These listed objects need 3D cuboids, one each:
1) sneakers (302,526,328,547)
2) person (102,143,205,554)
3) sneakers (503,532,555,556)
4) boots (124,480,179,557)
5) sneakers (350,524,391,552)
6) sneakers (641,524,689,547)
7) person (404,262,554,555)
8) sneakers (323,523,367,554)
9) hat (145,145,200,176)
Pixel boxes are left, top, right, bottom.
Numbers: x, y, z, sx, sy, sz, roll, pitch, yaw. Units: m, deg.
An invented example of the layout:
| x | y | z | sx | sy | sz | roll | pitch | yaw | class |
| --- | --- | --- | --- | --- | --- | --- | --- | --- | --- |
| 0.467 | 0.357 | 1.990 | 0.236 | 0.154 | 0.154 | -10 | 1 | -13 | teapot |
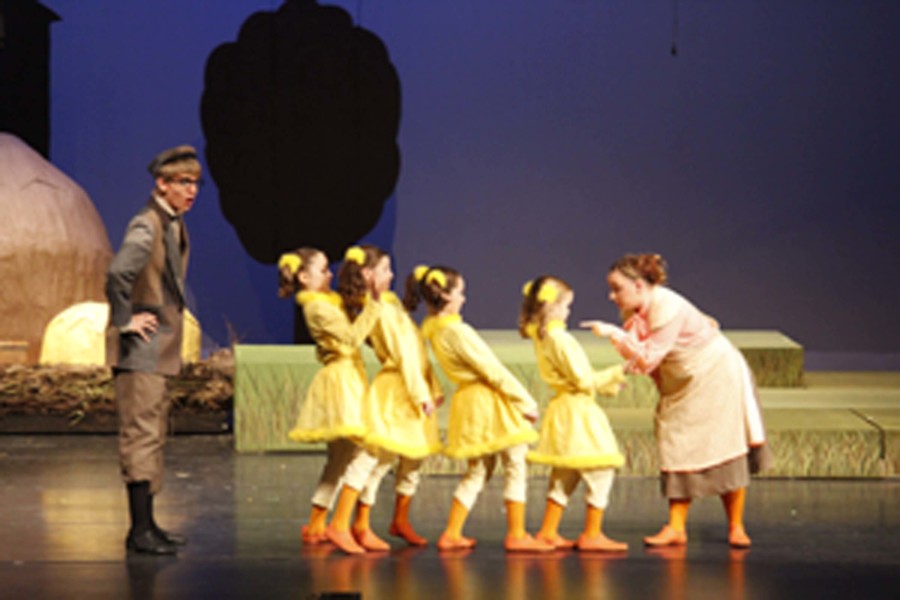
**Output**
| x | y | z | sx | sy | sz | roll | pitch | yaw | class |
| --- | --- | --- | --- | --- | --- | --- | --- | --- | --- |
| -0.802 | 1.406 | 6.943 | 0.151 | 0.166 | 0.097 | -1 | -3 | -7 | sneakers |
| -1.734 | 0.281 | 6.795 | 0.525 | 2.275 | 0.724 | 0 | 13 | -1 | person |
| 0.471 | 1.413 | 6.783 | 0.292 | 0.188 | 0.110 | -3 | -4 | 5 | sneakers |
| -1.738 | 1.257 | 6.719 | 0.297 | 0.401 | 0.172 | 8 | 16 | 32 | boots |
| -0.469 | 1.406 | 6.873 | 0.219 | 0.085 | 0.121 | 11 | 3 | 24 | sneakers |
| 1.281 | 1.385 | 6.870 | 0.224 | 0.091 | 0.120 | 0 | -6 | -1 | sneakers |
| 0.132 | 0.638 | 6.826 | 0.996 | 1.584 | 0.515 | 11 | 18 | 40 | person |
| -0.610 | 1.396 | 6.829 | 0.236 | 0.092 | 0.130 | 27 | 1 | 9 | sneakers |
| -1.659 | -0.830 | 6.897 | 0.269 | 0.111 | 0.243 | -21 | -10 | 18 | hat |
